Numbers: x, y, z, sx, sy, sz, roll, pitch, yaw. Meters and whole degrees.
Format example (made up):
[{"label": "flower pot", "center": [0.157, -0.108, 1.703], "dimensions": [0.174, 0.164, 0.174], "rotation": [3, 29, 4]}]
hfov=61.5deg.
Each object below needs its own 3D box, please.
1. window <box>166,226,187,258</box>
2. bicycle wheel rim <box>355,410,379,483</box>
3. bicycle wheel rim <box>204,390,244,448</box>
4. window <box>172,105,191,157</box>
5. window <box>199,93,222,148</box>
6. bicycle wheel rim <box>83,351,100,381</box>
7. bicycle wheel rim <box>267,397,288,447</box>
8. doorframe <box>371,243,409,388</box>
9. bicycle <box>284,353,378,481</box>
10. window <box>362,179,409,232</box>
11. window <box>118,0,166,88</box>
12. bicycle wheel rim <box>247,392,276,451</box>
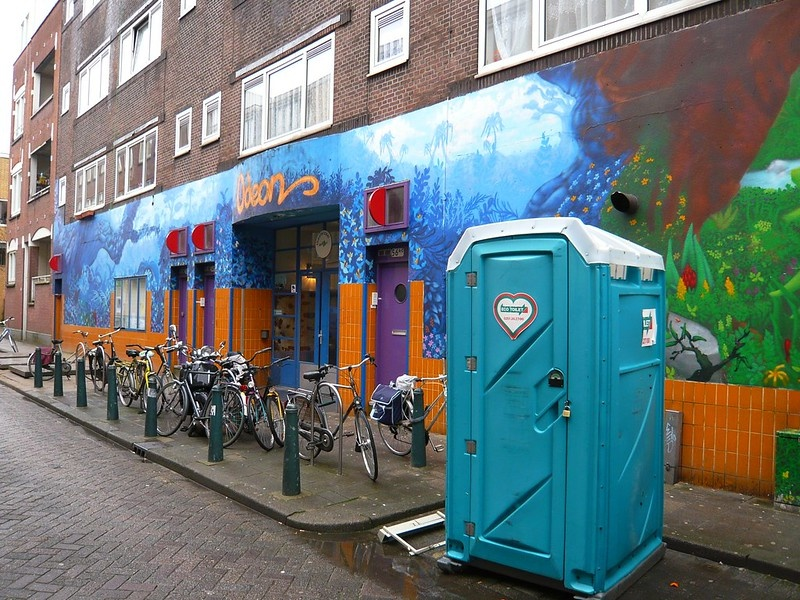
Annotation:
[{"label": "window", "center": [-6.105, -1.611, 18.323], "dimensions": [0.812, 0.883, 0.301], "rotation": [3, 3, 35]}, {"label": "bicycle wheel rim", "center": [-0.465, 1.998, 9.093], "dimensions": [0.202, 0.772, 0.665], "rotation": [-10, -30, -14]}, {"label": "bicycle wheel rim", "center": [-2.599, 1.746, 9.938], "dimensions": [0.793, 0.889, 0.157], "rotation": [-9, -11, 35]}, {"label": "window", "center": [-6.066, -4.709, 18.616], "dimensions": [0.125, 1.852, 1.464], "rotation": [3, -4, -36]}, {"label": "window", "center": [-4.808, -4.652, 17.253], "dimensions": [0.071, 1.236, 0.976], "rotation": [6, -5, -41]}, {"label": "bicycle wheel rim", "center": [-7.081, 1.446, 15.571], "dimensions": [0.438, 0.749, 1.229], "rotation": [0, -8, -18]}, {"label": "bicycle wheel rim", "center": [-1.797, 1.769, 9.752], "dimensions": [0.145, 0.817, 0.769], "rotation": [-3, 4, -30]}, {"label": "doorframe", "center": [-0.175, 0.534, 12.374], "dimensions": [0.169, 3.162, 0.874], "rotation": [6, 2, 22]}, {"label": "bicycle", "center": [-0.931, 1.561, 9.235], "dimensions": [0.764, 1.523, 2.096], "rotation": [-1, 1, -42]}, {"label": "window", "center": [-0.222, -1.695, 11.915], "dimensions": [0.906, 0.853, 0.069], "rotation": [-3, -3, 35]}, {"label": "window", "center": [-7.997, -7.979, 20.856], "dimensions": [0.348, 2.222, 3.137], "rotation": [10, -19, -38]}, {"label": "bicycle wheel rim", "center": [-2.068, 1.777, 10.017], "dimensions": [0.159, 0.738, 0.702], "rotation": [-13, 24, -36]}]
